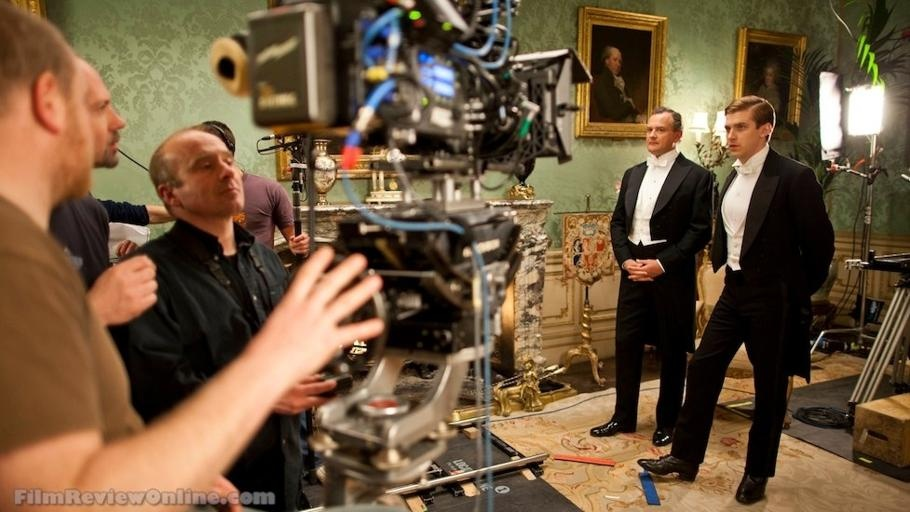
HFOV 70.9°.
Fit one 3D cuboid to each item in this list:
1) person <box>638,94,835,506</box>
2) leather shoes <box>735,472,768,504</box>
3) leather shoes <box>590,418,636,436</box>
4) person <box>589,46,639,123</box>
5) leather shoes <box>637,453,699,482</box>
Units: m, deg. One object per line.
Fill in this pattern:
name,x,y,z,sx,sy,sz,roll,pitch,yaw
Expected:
person,2.093,0.467,4.477,0.824,2.367,0.832,7,17,31
leather shoes,2.070,1.609,4.447,0.133,0.096,0.273,-1,0,39
leather shoes,1.298,1.402,5.267,0.441,0.158,0.134,3,-2,-4
person,1.725,-1.816,6.829,0.573,0.793,0.555,-18,24,-34
leather shoes,1.571,1.494,4.689,0.487,0.177,0.170,6,7,18
